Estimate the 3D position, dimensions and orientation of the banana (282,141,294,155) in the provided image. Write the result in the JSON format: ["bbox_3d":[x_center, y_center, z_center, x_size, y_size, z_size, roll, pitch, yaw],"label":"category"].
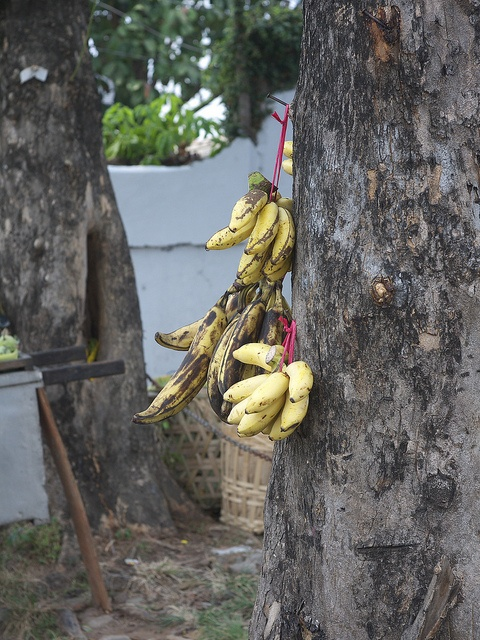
[{"bbox_3d":[0.181,-0.668,5.618,0.024,0.061,0.038,-1,12,18],"label":"banana"}]

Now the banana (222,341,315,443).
[{"bbox_3d":[0.171,0.208,5.202,0.233,0.223,0.104,-38,-28,12],"label":"banana"}]
